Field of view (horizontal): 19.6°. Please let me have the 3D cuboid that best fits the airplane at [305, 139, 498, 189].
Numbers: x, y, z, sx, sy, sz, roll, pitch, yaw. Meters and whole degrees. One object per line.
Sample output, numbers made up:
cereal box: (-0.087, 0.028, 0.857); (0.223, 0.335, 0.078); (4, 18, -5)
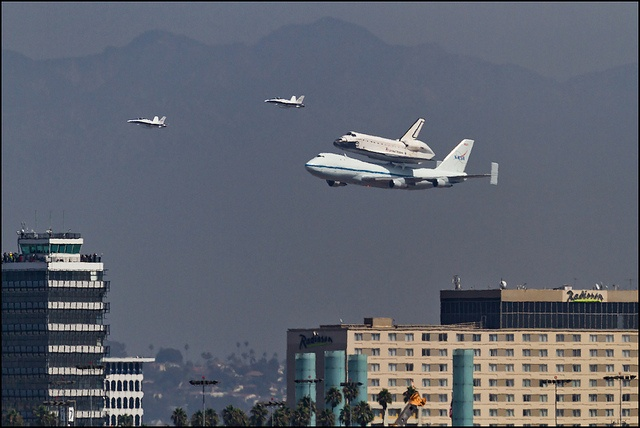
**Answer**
airplane: (20.834, -16.702, 563.444); (52.476, 12.898, 50.016); (3, -8, -1)
